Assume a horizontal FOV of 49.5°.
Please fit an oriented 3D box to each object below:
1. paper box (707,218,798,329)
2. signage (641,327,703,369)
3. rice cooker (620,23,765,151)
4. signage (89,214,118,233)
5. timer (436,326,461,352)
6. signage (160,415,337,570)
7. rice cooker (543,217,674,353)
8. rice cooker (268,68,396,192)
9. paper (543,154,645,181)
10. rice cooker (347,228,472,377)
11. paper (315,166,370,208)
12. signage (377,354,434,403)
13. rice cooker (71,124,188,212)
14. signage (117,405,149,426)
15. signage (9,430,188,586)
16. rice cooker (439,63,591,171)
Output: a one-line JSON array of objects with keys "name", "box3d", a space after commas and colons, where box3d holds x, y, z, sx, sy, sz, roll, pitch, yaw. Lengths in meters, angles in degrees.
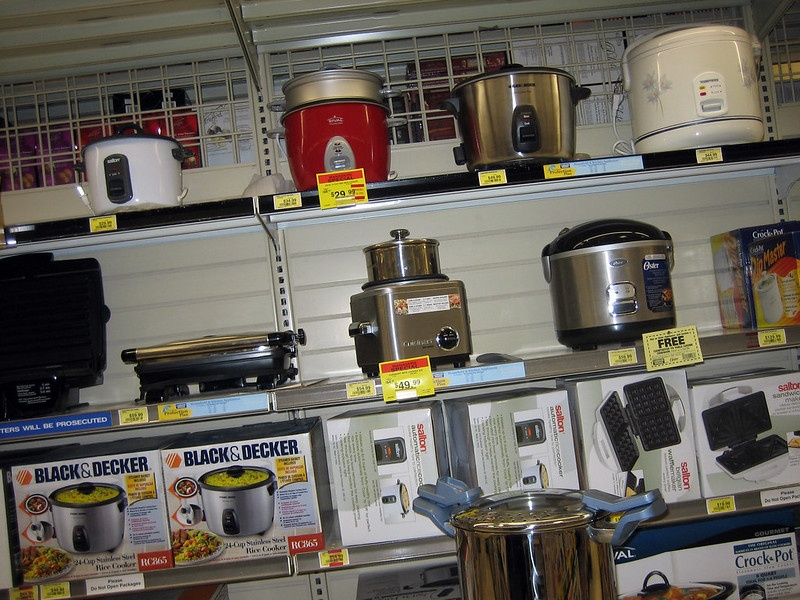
[{"name": "paper box", "box3d": [1.150, -0.074, 2.827, 0.197, 0.354, 0.339, -4, -4, -6]}, {"name": "signage", "box3d": [0.801, 0.139, 2.575, 0.122, 0.088, 0.006, -6, -18, 3]}, {"name": "rice cooker", "box3d": [0.903, -0.614, 2.841, 0.415, 0.414, 0.391, -5, -5, 7]}, {"name": "signage", "box3d": [-0.888, -0.225, 2.579, 0.069, 0.044, 0.050, -2, -1, -16]}, {"name": "timer", "box3d": [0.145, 0.112, 2.532, 0.067, 0.067, 0.016, -3, 1, -14]}, {"name": "signage", "box3d": [-0.455, 0.617, 2.724, 0.548, 0.375, 0.302, -9, -12, 10]}, {"name": "rice cooker", "box3d": [0.624, -0.049, 2.792, 0.385, 0.373, 0.379, -9, -4, 6]}, {"name": "rice cooker", "box3d": [-0.217, -0.503, 2.792, 0.416, 0.362, 0.345, -7, -4, -7]}, {"name": "paper", "box3d": [0.582, -0.398, 2.609, 0.309, 0.038, 0.032, -8, 4, -7]}, {"name": "rice cooker", "box3d": [0.013, 0.005, 2.705, 0.384, 0.426, 0.371, -5, 1, 25]}, {"name": "paper", "box3d": [-0.179, -0.336, 2.579, 0.117, 0.087, 0.016, -8, -13, -2]}, {"name": "signage", "box3d": [0.014, 0.226, 2.600, 0.168, 0.140, 0.112, -5, -17, -1]}, {"name": "rice cooker", "box3d": [-0.841, -0.412, 2.782, 0.344, 0.291, 0.350, -6, -2, -17]}, {"name": "signage", "box3d": [-0.783, 0.335, 2.532, 0.090, 0.048, 0.057, -5, 6, -10]}, {"name": "signage", "box3d": [-0.925, 0.593, 2.849, 0.636, 0.356, 0.413, -4, 10, 1]}, {"name": "rice cooker", "box3d": [0.354, -0.551, 2.676, 0.367, 0.233, 0.365, -12, 11, -29]}]
